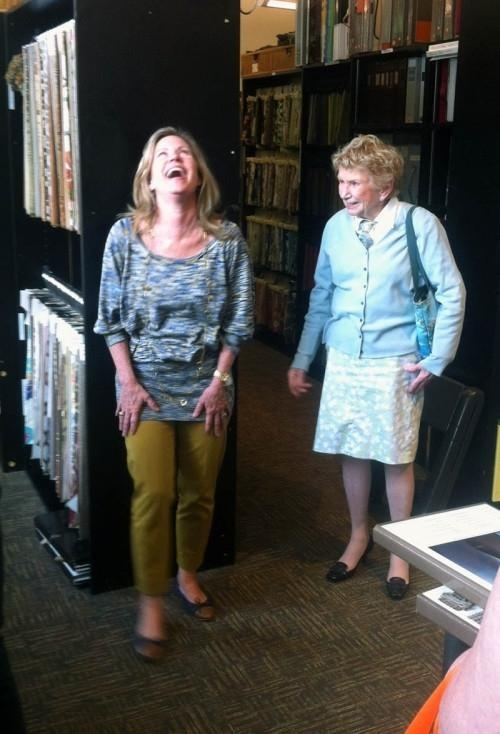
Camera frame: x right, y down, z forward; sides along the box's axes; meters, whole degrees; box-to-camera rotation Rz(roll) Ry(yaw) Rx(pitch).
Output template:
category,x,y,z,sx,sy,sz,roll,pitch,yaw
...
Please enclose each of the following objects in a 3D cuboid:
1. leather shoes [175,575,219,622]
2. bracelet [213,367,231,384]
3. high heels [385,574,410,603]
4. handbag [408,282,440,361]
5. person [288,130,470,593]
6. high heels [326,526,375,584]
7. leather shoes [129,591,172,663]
category,x,y,z,sx,sy,sz,roll,pitch,yaw
leather shoes,-0.202,0.829,2.200,0.078,0.097,0.228,-11,20,-27
bracelet,-0.085,0.027,1.981,0.052,0.031,0.046,26,1,28
high heels,0.579,0.855,2.295,0.052,0.030,0.094,2,45,16
handbag,0.627,-0.174,2.093,0.083,0.364,0.193,6,17,23
person,0.460,0.017,2.273,0.635,1.710,0.319,3,11,11
high heels,0.417,0.789,2.481,0.088,0.099,0.255,14,32,42
leather shoes,-0.329,0.868,1.962,0.080,0.164,0.235,1,9,-4
